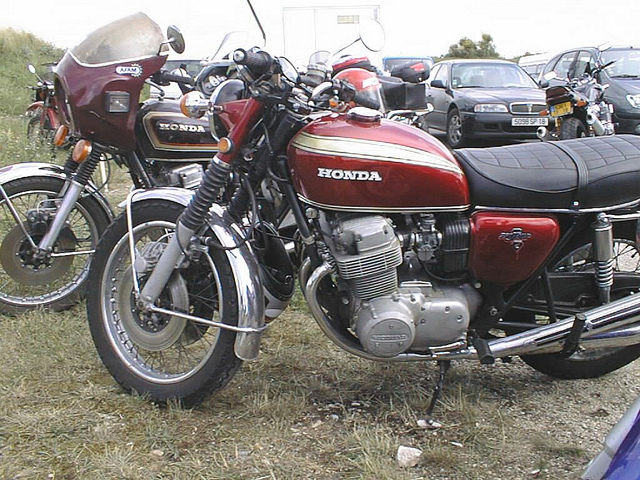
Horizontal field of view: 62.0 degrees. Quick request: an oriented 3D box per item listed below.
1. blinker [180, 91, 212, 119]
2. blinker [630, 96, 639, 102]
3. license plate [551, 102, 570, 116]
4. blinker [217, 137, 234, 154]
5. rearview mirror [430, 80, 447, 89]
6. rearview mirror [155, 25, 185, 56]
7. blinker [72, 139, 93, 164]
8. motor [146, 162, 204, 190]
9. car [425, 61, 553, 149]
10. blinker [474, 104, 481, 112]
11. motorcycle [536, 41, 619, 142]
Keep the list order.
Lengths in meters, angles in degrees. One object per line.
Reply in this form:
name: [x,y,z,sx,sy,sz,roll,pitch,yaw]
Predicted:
blinker: [-0.602,-0.703,2.763,0.249,0.090,0.095,11,9,12]
blinker: [5.147,-2.311,8.696,0.126,0.079,0.028,3,-25,-1]
license plate: [3.123,-1.711,6.893,0.034,0.116,0.210,-20,11,-23]
blinker: [-0.466,-0.459,2.581,0.093,0.077,0.051,14,28,34]
rearview mirror: [2.247,-2.945,10.059,0.273,0.069,0.160,2,12,-13]
rearview mirror: [-1.029,-1.338,3.559,0.173,0.198,0.195,-29,70,-29]
blinker: [-1.567,-0.583,3.528,0.063,0.154,0.146,24,28,-42]
motor: [-0.986,-0.465,3.770,0.562,0.141,0.363,3,11,17]
car: [3.092,-2.708,10.177,2.100,1.010,3.165,-2,14,-5]
blinker: [2.696,-2.254,9.082,0.159,0.100,0.039,-4,5,9]
motorcycle: [3.499,-1.737,7.542,1.153,0.964,2.139,-6,7,27]
